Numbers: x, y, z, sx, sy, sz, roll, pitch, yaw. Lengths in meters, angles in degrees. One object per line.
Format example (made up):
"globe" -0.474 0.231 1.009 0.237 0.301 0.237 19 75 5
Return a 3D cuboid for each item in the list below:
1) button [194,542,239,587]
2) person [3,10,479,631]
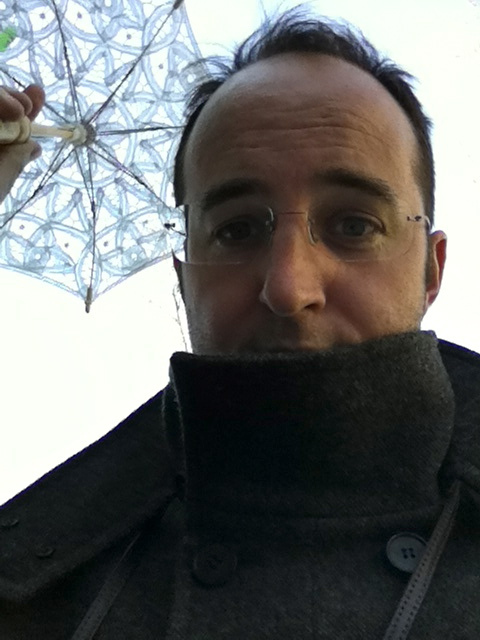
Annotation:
"button" -0.065 0.651 1.807 0.098 0.087 0.021 -7 -30 -3
"person" 0.040 -0.168 2.297 1.299 2.313 0.739 -18 -39 21
